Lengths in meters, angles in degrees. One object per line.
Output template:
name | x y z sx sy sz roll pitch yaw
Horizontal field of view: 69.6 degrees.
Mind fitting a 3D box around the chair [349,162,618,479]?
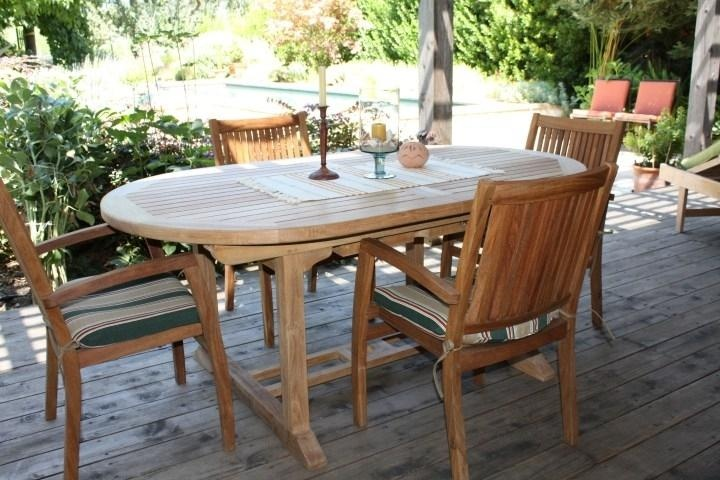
chair | 0.413 0.307 1.938 0.977 1.134 0.659 2 26 9

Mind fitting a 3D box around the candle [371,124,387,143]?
candle | 0.083 -0.475 2.300 0.069 0.085 0.034 -1 26 3
